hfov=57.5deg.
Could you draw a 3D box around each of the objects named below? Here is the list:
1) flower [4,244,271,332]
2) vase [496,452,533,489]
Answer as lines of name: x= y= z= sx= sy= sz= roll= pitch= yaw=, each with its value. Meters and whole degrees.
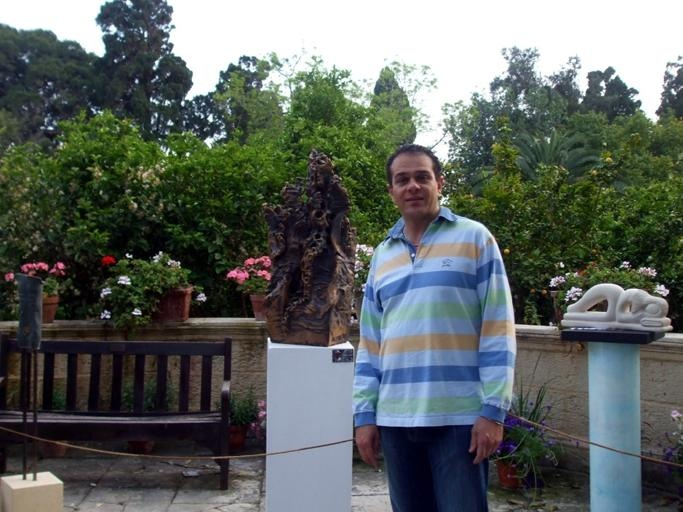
flower: x=-2.259 y=0.428 z=7.710 sx=2.705 sy=0.876 sz=0.962 roll=-1 pitch=5 yaw=-11
vase: x=1.707 y=2.164 z=6.224 sx=0.365 sy=0.280 sz=0.369 roll=3 pitch=-7 yaw=-10
